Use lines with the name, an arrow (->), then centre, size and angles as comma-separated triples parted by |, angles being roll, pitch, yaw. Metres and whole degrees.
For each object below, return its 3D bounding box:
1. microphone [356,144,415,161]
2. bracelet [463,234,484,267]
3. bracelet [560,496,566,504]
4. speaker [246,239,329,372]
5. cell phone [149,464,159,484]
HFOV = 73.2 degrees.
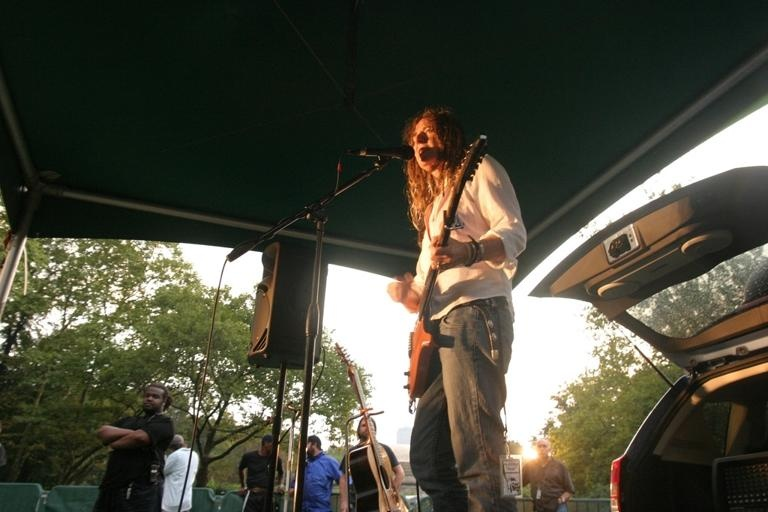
microphone -> 0.079, -0.879, 4.513 | 0.643, 0.177, 0.192 | -1, 14, -4
bracelet -> 0.598, -0.027, 3.437 | 0.115, 0.161, 0.159 | -1, -2, -4
bracelet -> 2.922, 3.973, 8.420 | 0.030, 0.053, 0.131 | -30, -6, -12
speaker -> -1.038, 0.529, 5.254 | 0.544, 1.268, 0.657 | 7, -33, -13
cell phone -> -2.542, 2.405, 5.722 | 0.114, 0.162, 0.162 | 3, -27, -18
